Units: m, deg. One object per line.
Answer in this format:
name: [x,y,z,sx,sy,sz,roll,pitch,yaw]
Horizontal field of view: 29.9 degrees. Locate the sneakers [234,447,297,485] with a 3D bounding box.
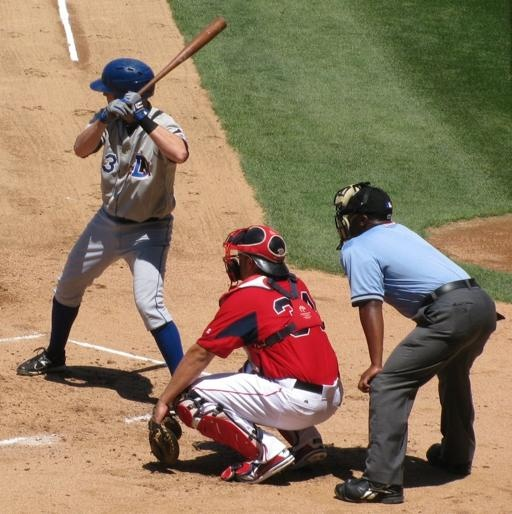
sneakers: [0.058,1.410,6.486,0.490,0.188,0.179,-21,11,19]

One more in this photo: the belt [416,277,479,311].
belt: [1.288,0.232,6.482,0.270,0.056,0.236,-23,-5,16]

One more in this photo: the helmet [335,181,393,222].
helmet: [0.729,-0.408,6.700,0.366,0.274,0.279,26,29,34]

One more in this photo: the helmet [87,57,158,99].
helmet: [-0.974,-1.373,7.190,0.547,0.220,0.360,13,33,16]

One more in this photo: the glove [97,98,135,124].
glove: [-0.995,-1.046,6.865,0.250,0.088,0.179,-2,1,-38]

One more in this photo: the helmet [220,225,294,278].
helmet: [0.032,-0.014,6.647,0.492,0.333,0.360,13,15,32]

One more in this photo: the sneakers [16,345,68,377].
sneakers: [-1.697,0.831,7.533,0.447,0.166,0.157,-2,19,-26]

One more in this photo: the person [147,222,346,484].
person: [0.036,0.667,6.498,1.196,1.684,0.617,12,15,5]

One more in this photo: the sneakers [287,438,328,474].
sneakers: [0.393,1.367,6.665,0.147,0.141,0.348,-14,-10,-36]

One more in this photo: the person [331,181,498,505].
person: [1.064,0.590,6.494,1.323,2.034,0.947,12,15,3]

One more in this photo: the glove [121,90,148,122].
glove: [-0.880,-1.088,6.896,0.194,0.216,0.097,-11,-18,-3]

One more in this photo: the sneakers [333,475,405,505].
sneakers: [0.737,1.543,6.330,0.449,0.155,0.165,4,13,-2]

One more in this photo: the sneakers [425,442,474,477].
sneakers: [1.348,1.429,6.880,0.397,0.107,0.205,-8,48,-2]
